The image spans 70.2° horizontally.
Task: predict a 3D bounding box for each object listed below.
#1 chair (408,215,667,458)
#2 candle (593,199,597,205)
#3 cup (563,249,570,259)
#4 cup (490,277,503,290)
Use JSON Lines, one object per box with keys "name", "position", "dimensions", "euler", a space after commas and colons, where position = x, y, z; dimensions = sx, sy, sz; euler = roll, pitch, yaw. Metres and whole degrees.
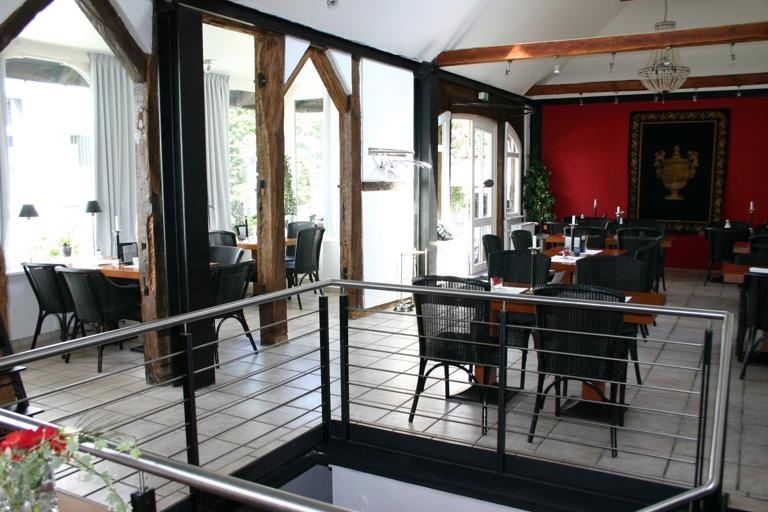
{"name": "chair", "position": [1.287, 0.669, 4.416], "dimensions": [1.526, 0.851, 1.686], "euler": [2, 4, 28]}
{"name": "candle", "position": [4.436, -1.142, 11.425], "dimensions": [0.090, 0.169, 0.231], "euler": [2, 8, 19]}
{"name": "cup", "position": [2.301, -0.038, 6.882], "dimensions": [0.117, 0.120, 0.115], "euler": [0, 0, 0]}
{"name": "cup", "position": [1.018, 0.247, 5.039], "dimensions": [0.113, 0.134, 0.133], "euler": [14, -15, 10]}
